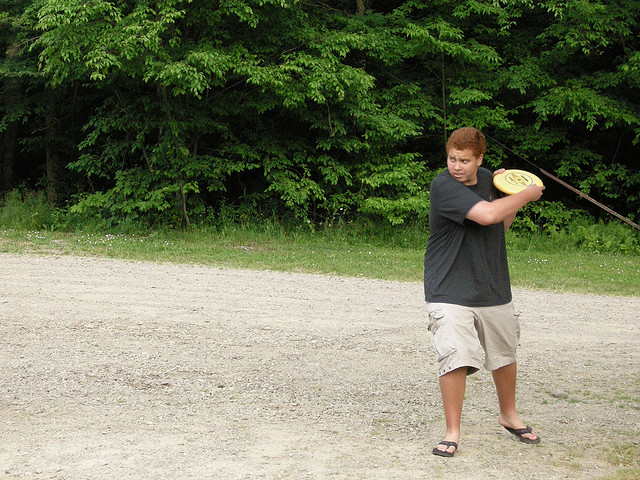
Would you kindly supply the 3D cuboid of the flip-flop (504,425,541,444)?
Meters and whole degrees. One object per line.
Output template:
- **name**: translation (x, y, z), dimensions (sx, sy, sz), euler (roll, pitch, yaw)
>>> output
- **flip-flop**: translation (2.550, 2.413, 12.247), dimensions (0.405, 0.098, 0.159), euler (18, 26, 36)

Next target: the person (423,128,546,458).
- **person**: translation (1.947, 0.632, 12.162), dimensions (1.217, 3.990, 0.506), euler (0, 2, -10)
